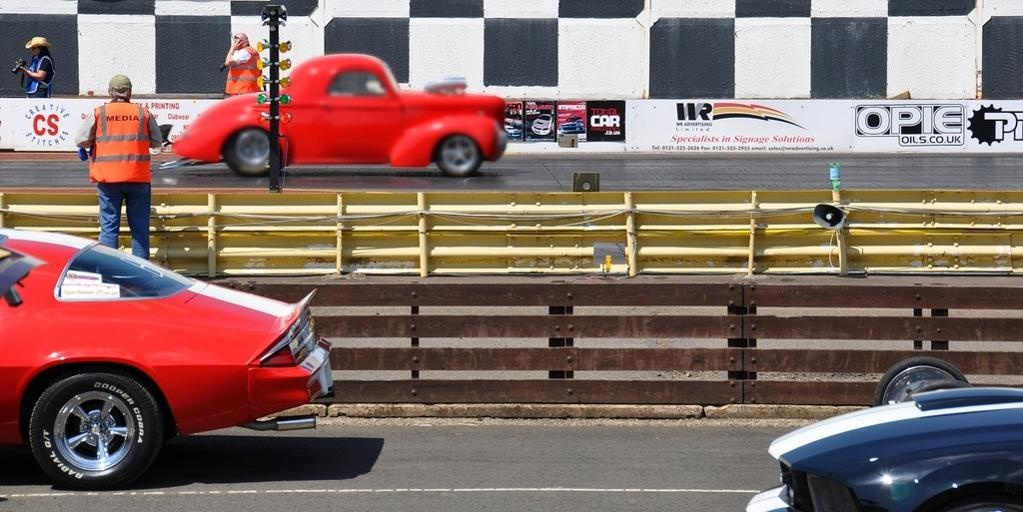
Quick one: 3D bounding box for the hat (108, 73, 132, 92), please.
[{"bbox_3d":[-9.326,-4.136,60.347,0.492,0.379,0.526,0,0,-11],"label":"hat"}]
